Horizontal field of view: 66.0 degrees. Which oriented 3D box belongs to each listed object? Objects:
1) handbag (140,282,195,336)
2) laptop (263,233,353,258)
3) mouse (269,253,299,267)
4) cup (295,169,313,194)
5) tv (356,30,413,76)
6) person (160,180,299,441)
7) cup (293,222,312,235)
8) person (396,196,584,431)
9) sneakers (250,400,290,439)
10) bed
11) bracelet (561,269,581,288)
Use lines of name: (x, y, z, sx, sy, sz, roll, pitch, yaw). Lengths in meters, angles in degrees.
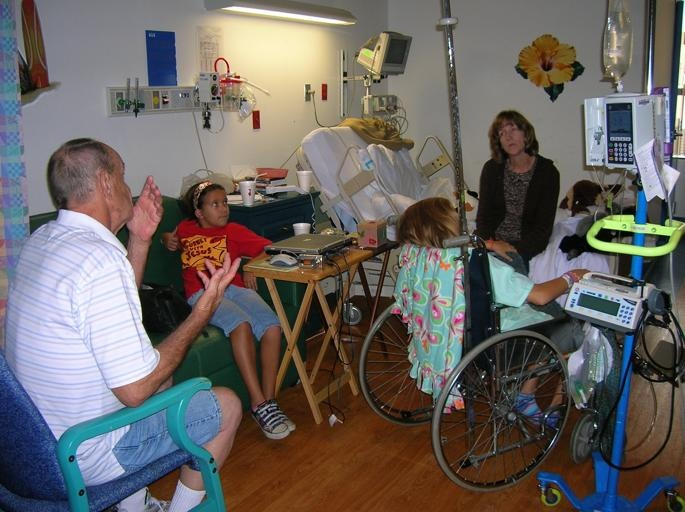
handbag: (-0.903, 0.296, 2.692, 0.261, 0.101, 0.196, 26, 36, 30)
laptop: (-0.173, -0.069, 3.030, 0.345, 0.080, 0.492, 5, 18, 35)
mouse: (-0.322, 0.012, 2.828, 0.107, 0.038, 0.070, 7, 21, 22)
cup: (-0.282, -0.554, 3.883, 0.153, 0.184, 0.159, -3, 12, 1)
tv: (0.325, -1.897, 4.849, 0.468, 0.430, 0.463, -25, 46, -37)
person: (-0.469, 0.163, 3.232, 0.772, 1.449, 1.242, -14, 23, -37)
cup: (-0.248, -0.168, 3.340, 0.088, 0.072, 0.085, -1, 11, 0)
person: (0.657, 0.312, 2.453, 0.764, 1.181, 0.482, -6, 14, -4)
sneakers: (-0.383, 0.864, 2.766, 0.103, 0.110, 0.255, -15, 19, -30)
bed: (0.661, -0.735, 3.785, 1.999, 0.867, 1.269, 25, 39, 25)
bracelet: (1.071, 0.106, 2.469, 0.094, 0.090, 0.116, 4, -6, 17)
